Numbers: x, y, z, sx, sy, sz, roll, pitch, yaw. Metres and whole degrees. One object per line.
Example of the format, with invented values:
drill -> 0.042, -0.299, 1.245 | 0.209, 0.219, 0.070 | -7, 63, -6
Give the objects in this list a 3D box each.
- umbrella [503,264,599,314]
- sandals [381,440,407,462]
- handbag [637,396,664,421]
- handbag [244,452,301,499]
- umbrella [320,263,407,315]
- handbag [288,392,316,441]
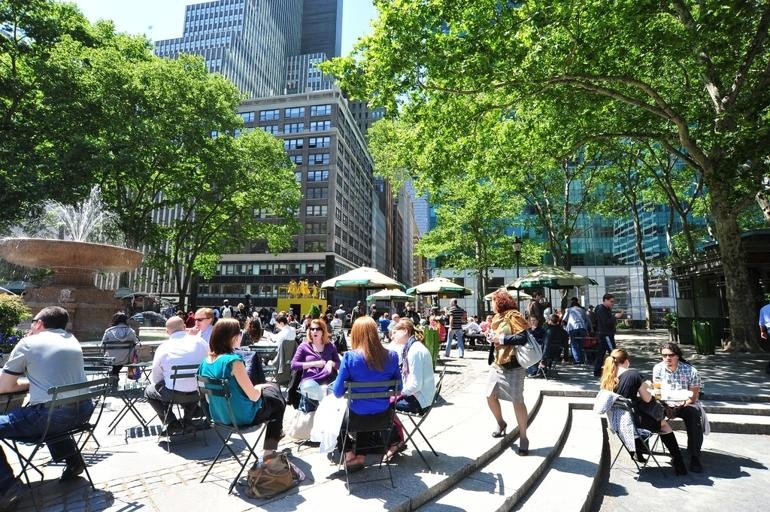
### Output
umbrella -> 6.604, 0.953, 20.833 | 2.462, 0.876, 2.512 | -10, -13, 29
sandals -> 0.207, 4.005, 10.506 | 0.236, 0.259, 0.667 | -12, -18, 27
handbag -> 5.628, 3.243, 10.888 | 0.493, 0.384, 0.206 | 7, 15, 25
handbag -> -2.058, 4.013, 9.503 | 0.847, 0.405, 0.665 | -8, 5, -35
umbrella -> -0.967, 1.486, 22.925 | 2.487, 1.720, 2.511 | 0, -1, 39
handbag -> -1.771, 3.473, 11.100 | 0.512, 0.944, 0.818 | 2, -19, 17
